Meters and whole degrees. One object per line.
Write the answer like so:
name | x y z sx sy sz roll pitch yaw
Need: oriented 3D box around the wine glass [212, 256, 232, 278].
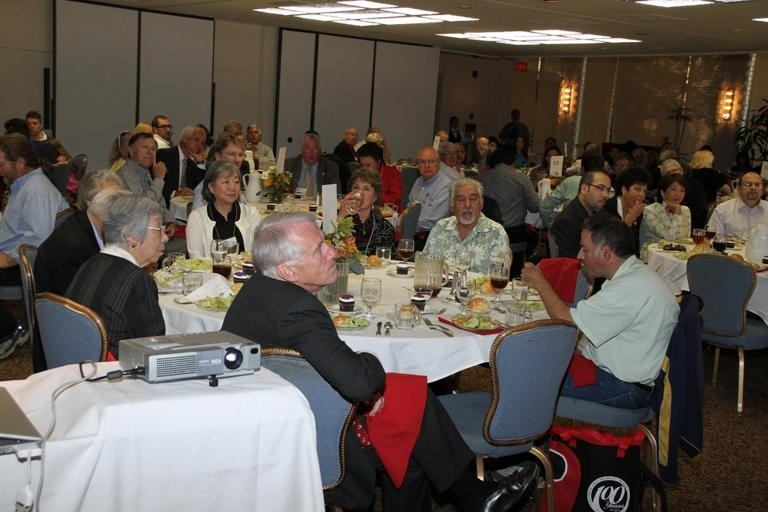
wine glass | -1.008 0.076 3.393 0.126 0.134 0.127 2 0 -16

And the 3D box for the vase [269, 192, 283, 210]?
vase | -1.217 -0.609 6.173 0.172 0.190 0.177 -1 7 -7

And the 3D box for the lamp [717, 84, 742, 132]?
lamp | 7.611 -3.302 11.967 0.481 0.950 0.148 10 17 34

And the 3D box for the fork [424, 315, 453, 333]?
fork | 0.284 0.385 2.899 0.049 0.043 0.366 -22 10 -7

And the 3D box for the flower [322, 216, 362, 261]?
flower | -0.234 -0.099 3.278 0.227 0.183 0.217 1 11 -25

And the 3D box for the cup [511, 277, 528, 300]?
cup | 0.788 0.207 3.273 0.105 0.129 0.109 -1 -5 0

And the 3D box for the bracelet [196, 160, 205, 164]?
bracelet | -2.473 -1.243 7.312 0.103 0.064 0.079 5 3 6

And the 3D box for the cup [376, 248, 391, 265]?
cup | -0.005 -0.001 4.078 0.084 0.127 0.130 0 2 0

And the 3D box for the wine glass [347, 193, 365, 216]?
wine glass | -0.229 -0.409 4.363 0.123 0.224 0.145 8 31 -3

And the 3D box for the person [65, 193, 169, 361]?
person | -1.258 0.110 2.526 0.490 0.843 0.408 24 29 39

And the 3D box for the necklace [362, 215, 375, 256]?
necklace | -0.130 -0.163 4.498 0.178 0.278 0.274 0 2 -2

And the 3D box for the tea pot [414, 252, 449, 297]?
tea pot | 0.268 0.129 3.279 0.246 0.263 0.178 4 0 -36

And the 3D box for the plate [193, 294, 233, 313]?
plate | -0.927 0.256 2.949 0.192 0.073 0.158 -6 5 34

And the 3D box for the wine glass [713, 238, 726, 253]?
wine glass | 3.173 -0.097 5.093 0.112 0.139 0.123 -1 0 -1

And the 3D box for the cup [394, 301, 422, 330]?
cup | 0.116 0.331 2.907 0.141 0.131 0.094 3 0 -8

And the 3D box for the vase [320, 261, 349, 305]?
vase | -0.331 0.149 3.231 0.208 0.357 0.224 0 5 -10

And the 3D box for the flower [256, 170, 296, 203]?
flower | -1.247 -0.746 6.249 0.341 0.367 0.357 -7 0 1

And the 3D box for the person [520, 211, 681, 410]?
person | 1.459 0.160 3.544 0.959 1.682 0.887 6 14 33
